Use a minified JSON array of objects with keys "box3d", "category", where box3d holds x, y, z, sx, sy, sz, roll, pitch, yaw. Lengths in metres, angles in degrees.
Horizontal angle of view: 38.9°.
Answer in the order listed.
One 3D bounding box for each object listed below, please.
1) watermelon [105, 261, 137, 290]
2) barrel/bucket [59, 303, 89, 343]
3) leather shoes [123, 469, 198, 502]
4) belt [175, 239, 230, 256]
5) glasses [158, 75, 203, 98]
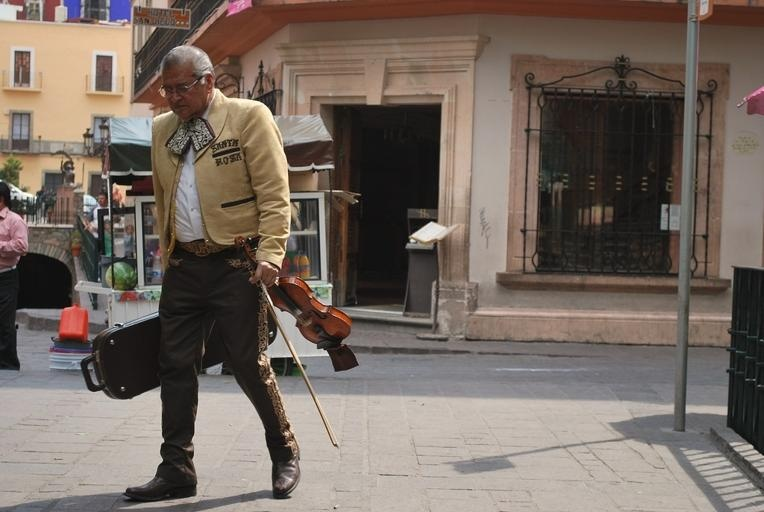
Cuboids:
[{"box3d":[-3.239,0.247,13.540,0.306,0.291,0.397,14,-3,-42],"category":"watermelon"},{"box3d":[-3.848,0.861,13.513,0.327,0.482,0.376,0,11,-11],"category":"barrel/bucket"},{"box3d":[-1.968,2.056,9.633,0.639,0.257,0.240,2,-4,-16],"category":"leather shoes"},{"box3d":[-1.605,-0.080,9.644,0.486,0.137,0.055,3,11,6],"category":"belt"},{"box3d":[-1.784,-1.515,9.585,0.392,0.203,0.153,5,11,17],"category":"glasses"}]
